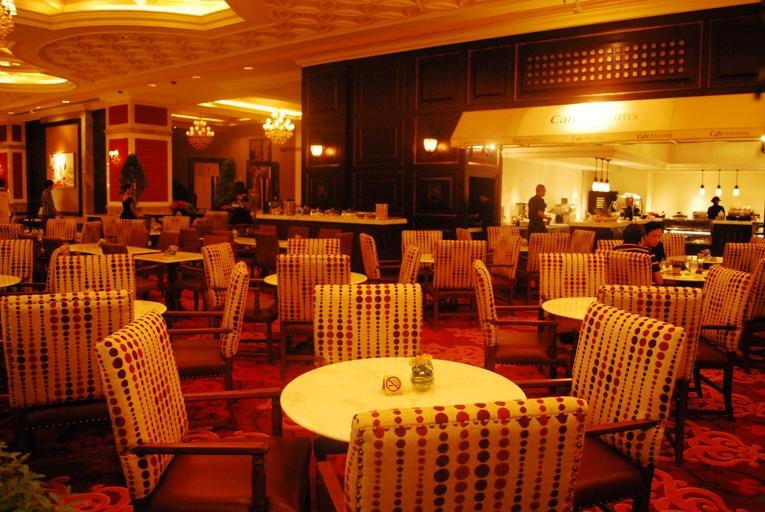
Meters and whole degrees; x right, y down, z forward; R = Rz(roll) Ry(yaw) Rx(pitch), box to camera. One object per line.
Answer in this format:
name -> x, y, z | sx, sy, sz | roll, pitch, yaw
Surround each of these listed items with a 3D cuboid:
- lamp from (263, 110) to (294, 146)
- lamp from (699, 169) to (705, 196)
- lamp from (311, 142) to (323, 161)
lamp -> -2.489, -3.096, 14.163 | 0.604, 0.735, 1.066 | 0, 8, -10
lamp -> 9.345, -2.122, 17.412 | 0.181, 0.768, 0.585 | 6, 9, 28
lamp -> -1.257, -2.009, 11.590 | 0.281, 0.311, 0.270 | 7, 14, 28
